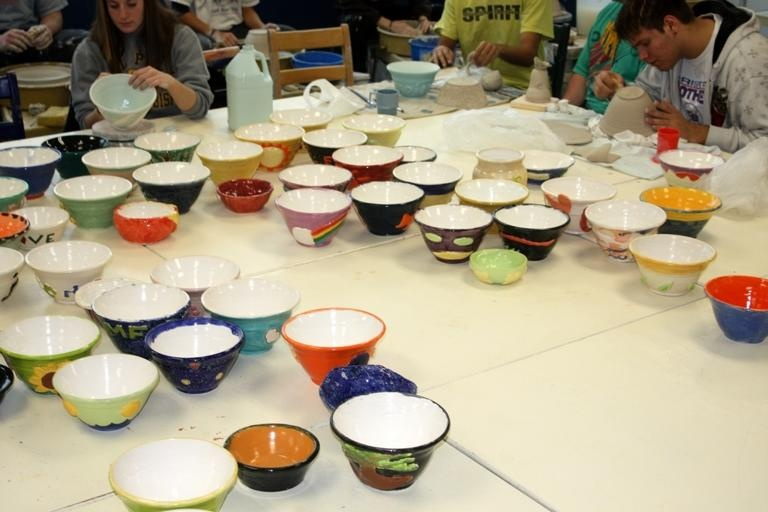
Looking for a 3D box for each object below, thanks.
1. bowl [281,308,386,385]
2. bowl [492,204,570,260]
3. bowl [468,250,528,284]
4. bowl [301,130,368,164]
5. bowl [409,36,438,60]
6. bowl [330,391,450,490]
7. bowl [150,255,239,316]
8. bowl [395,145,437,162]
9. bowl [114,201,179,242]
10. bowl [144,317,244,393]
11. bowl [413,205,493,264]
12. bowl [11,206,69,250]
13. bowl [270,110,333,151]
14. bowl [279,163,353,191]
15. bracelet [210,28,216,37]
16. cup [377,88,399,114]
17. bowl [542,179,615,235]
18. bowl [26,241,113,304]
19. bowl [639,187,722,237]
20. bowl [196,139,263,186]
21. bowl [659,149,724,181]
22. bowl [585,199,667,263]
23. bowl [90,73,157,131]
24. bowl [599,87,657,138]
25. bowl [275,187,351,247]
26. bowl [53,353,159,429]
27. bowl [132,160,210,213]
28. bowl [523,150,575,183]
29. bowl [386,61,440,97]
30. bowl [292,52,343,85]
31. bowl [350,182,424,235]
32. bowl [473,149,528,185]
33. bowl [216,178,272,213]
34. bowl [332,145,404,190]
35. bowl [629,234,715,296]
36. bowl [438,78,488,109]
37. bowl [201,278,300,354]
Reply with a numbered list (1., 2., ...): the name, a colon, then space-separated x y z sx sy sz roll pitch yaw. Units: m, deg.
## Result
1. bowl: -0.101 0.175 1.173 0.183 0.090 0.176 0 22 0
2. bowl: 0.412 -0.081 1.589 0.184 0.103 0.187 0 26 0
3. bowl: 0.315 0.025 1.495 0.115 0.046 0.111 -2 22 1
4. bowl: -0.177 -0.420 2.031 0.178 0.066 0.170 0 24 0
5. bowl: 0.275 -1.418 3.746 0.239 0.090 0.204 3 33 6
6. bowl: 0.006 0.356 0.984 0.184 0.096 0.186 4 2 0
7. bowl: -0.465 0.059 1.357 0.169 0.077 0.161 4 28 -2
8. bowl: 0.132 -0.370 1.994 0.099 0.033 0.095 2 33 -2
9. bowl: -0.697 -0.106 1.630 0.148 0.065 0.136 3 20 -1
10. bowl: -0.385 0.206 1.137 0.187 0.094 0.180 6 17 -2
11. bowl: 0.203 -0.103 1.554 0.184 0.103 0.186 2 25 -1
12. bowl: -0.966 -0.092 1.588 0.138 0.063 0.134 2 28 -1
13. bowl: -0.320 -0.483 2.130 0.187 0.063 0.179 1 27 -1
14. bowl: -0.213 -0.261 1.814 0.143 0.050 0.140 0 21 0
15. bracelet: -1.476 -1.956 4.830 0.057 0.033 0.068 5 49 4
16. cup: 0.024 -0.708 2.507 0.090 0.089 0.134 0 8 3
17. bowl: 0.598 -0.177 1.750 0.212 0.124 0.202 -1 29 1
18. bowl: -0.774 0.022 1.427 0.182 0.098 0.182 1 27 -1
19. bowl: 0.907 -0.141 1.684 0.197 0.085 0.188 -3 31 2
20. bowl: -0.540 -0.307 1.943 0.227 0.133 0.232 2 24 -1
21. bowl: 1.052 -0.321 1.908 0.156 0.057 0.150 -1 23 1
22. bowl: 0.700 -0.101 1.600 0.202 0.120 0.202 2 26 -1
23. bowl: -1.054 -0.632 2.245 0.228 0.145 0.220 5 58 -8
24. bowl: 1.029 -0.601 2.330 0.203 0.123 0.212 -3 35 2
25. bowl: -0.201 -0.124 1.628 0.200 0.116 0.193 0 22 0
26. bowl: -0.538 0.272 1.067 0.185 0.082 0.182 9 10 -2
27. bowl: -0.681 -0.218 1.777 0.216 0.110 0.212 10 27 -5
28. bowl: 0.594 -0.334 1.989 0.147 0.055 0.141 -2 25 1
29. bowl: 0.144 -0.910 2.786 0.215 0.114 0.209 2 22 -1
30. bowl: -0.408 -1.195 3.540 0.295 0.125 0.285 0 13 0
31. bowl: 0.014 -0.156 1.671 0.182 0.100 0.177 0 29 0
32. bowl: 0.396 -0.310 1.884 0.149 0.107 0.152 0 12 0
33. bowl: -0.458 -0.205 1.809 0.139 0.056 0.133 1 34 -1
34. bowl: -0.046 -0.328 1.896 0.185 0.096 0.179 -2 23 1
35. bowl: 0.755 0.013 1.458 0.189 0.106 0.189 -6 23 3
36. bowl: 0.374 -0.774 2.622 0.182 0.076 0.176 1 24 0
37. bowl: -0.287 0.117 1.256 0.189 0.104 0.183 1 25 0
